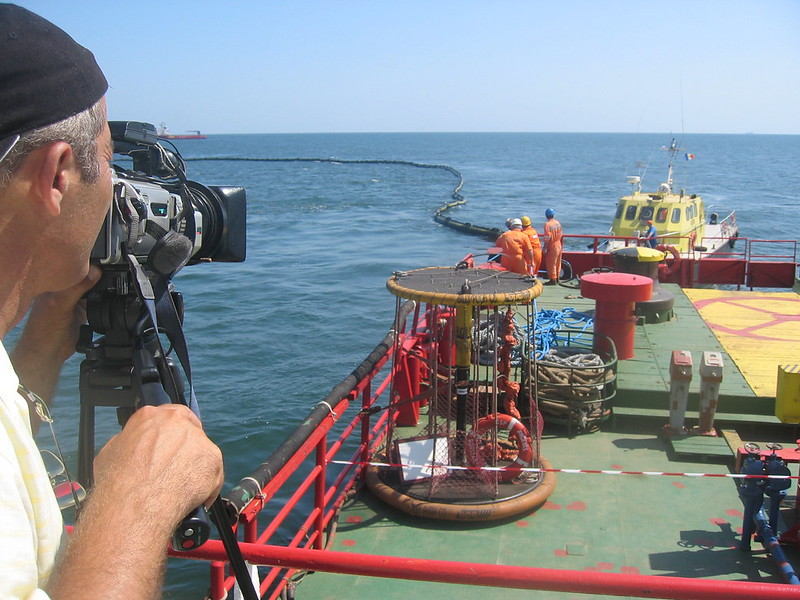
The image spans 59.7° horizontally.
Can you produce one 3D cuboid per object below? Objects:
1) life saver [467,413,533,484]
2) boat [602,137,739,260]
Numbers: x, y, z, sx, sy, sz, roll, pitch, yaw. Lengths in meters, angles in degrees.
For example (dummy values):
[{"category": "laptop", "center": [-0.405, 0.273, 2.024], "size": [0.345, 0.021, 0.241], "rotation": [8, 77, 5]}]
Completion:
[{"category": "life saver", "center": [0.967, 1.381, 6.646], "size": [0.825, 0.665, 0.195], "rotation": [-3, -1, -13]}, {"category": "boat", "center": [9.216, -3.305, 24.607], "size": [7.302, 2.773, 2.566], "rotation": [7, 11, 5]}]
